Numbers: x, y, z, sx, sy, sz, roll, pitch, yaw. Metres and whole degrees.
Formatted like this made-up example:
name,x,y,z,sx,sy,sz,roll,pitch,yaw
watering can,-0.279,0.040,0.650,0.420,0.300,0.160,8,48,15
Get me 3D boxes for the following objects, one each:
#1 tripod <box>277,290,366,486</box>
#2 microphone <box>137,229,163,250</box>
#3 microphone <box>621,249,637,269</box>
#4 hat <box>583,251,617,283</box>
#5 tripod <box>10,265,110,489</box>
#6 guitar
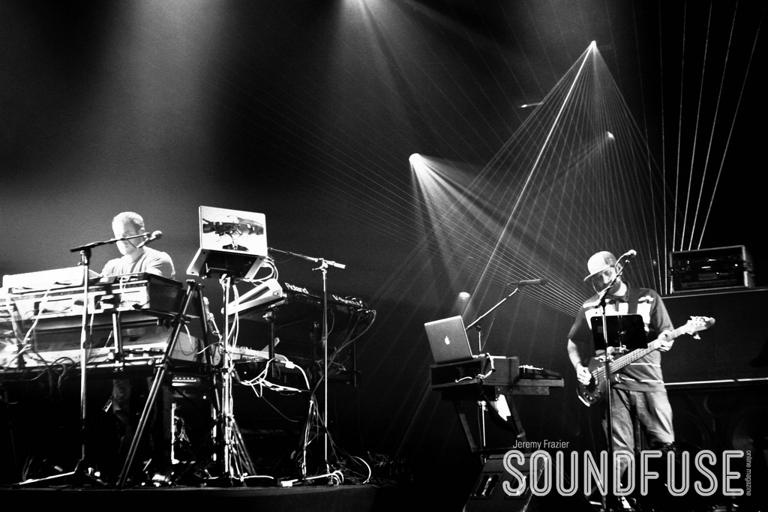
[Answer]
name,x,y,z,sx,sy,sz,roll,pitch,yaw
tripod,-0.619,1.415,7.784,0.890,2.202,1.269,-3,-18,12
microphone,-2.743,-0.193,8.000,0.318,0.102,0.096,-38,-14,-26
microphone,3.196,0.051,8.907,0.105,0.103,0.263,-6,-24,-42
hat,2.565,0.069,8.062,0.491,0.247,0.344,-24,-5,-46
tripod,-3.081,1.133,6.929,0.734,2.235,1.073,10,-19,-26
guitar,2.905,1.112,7.584,1.315,0.943,0.859,2,-18,-4
